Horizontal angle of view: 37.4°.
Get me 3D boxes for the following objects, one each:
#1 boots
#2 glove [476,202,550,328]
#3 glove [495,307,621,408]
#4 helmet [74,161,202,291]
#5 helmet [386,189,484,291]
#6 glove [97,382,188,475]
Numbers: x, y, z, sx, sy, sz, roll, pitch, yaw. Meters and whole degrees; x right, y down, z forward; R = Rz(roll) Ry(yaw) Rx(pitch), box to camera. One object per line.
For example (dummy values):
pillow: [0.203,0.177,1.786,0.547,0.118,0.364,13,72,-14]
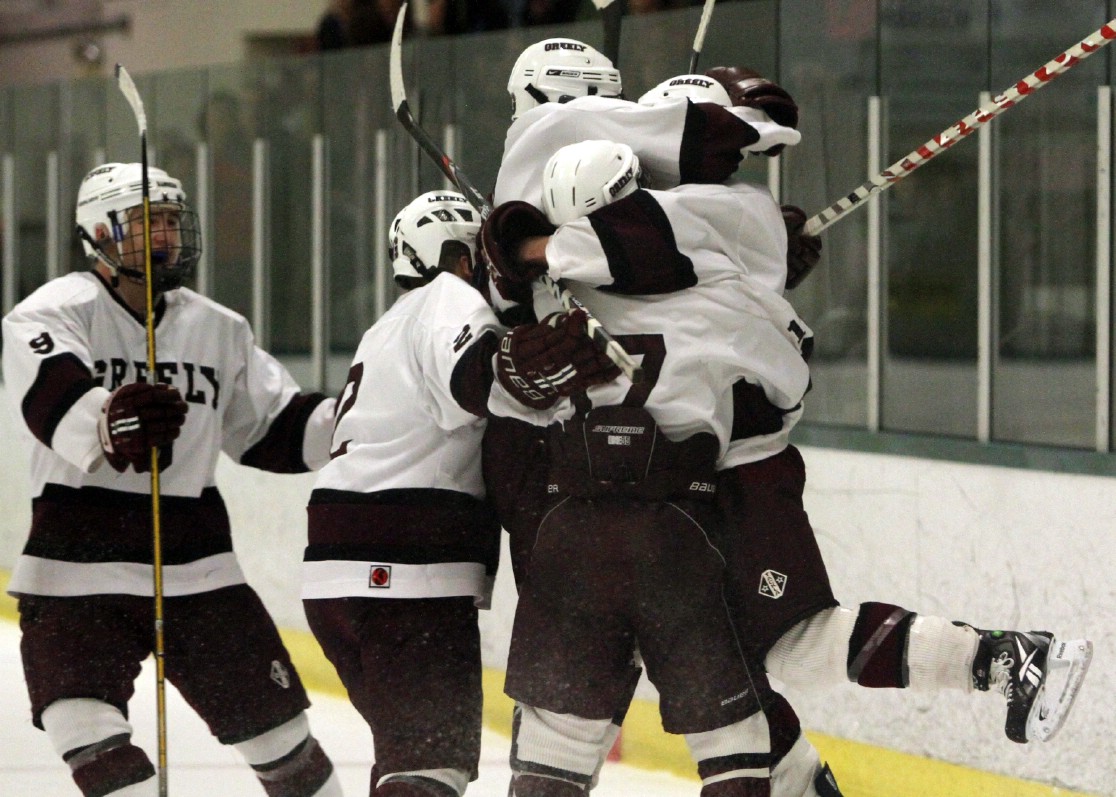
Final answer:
boots: [1.302,0.772,4.729,0.203,0.427,0.142,-4,10,5]
glove: [-0.165,-0.401,4.868,0.126,0.321,0.254,2,12,-8]
glove: [-0.019,-0.106,4.660,0.325,0.222,0.129,-26,13,45]
helmet: [-1.391,-0.561,5.429,0.438,0.428,0.351,-5,-2,32]
helmet: [-0.403,-0.491,5.194,0.327,0.315,0.248,-9,8,-17]
glove: [-1.259,0.077,5.015,0.213,0.290,0.138,-8,-1,10]
